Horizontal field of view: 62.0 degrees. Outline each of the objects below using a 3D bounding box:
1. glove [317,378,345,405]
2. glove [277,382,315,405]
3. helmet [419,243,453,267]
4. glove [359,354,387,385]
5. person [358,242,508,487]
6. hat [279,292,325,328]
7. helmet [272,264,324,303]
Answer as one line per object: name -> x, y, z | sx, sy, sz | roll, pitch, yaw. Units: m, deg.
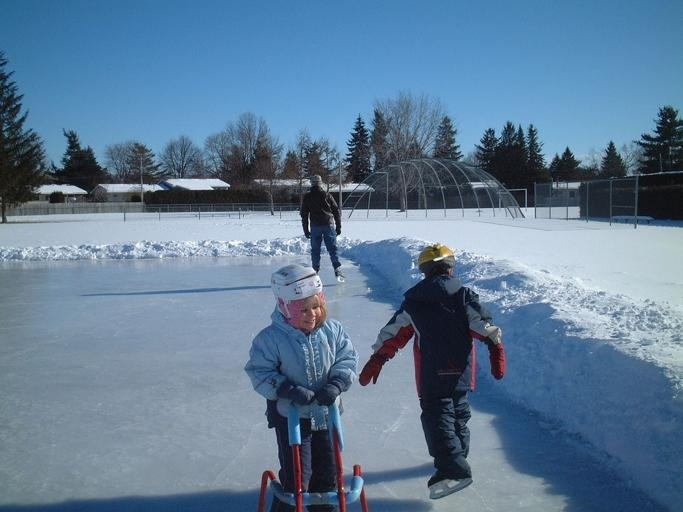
glove -> -0.068, 0.790, 3.241 | 0.149, 0.161, 0.166 | 1, 9, 7
glove -> -0.253, 0.755, 3.209 | 0.175, 0.116, 0.078 | 16, 5, 24
helmet -> 0.640, -0.012, 3.930 | 0.188, 0.155, 0.151 | -36, -11, 27
glove -> 0.186, 0.765, 3.784 | 0.072, 0.156, 0.250 | -14, 27, 50
person -> 0.620, 0.804, 3.742 | 0.863, 1.304, 0.422 | 2, 9, 15
hat -> -0.210, 0.308, 3.292 | 0.221, 0.239, 0.185 | -3, -6, 34
helmet -> -0.267, 0.156, 3.284 | 0.191, 0.274, 0.255 | -8, -10, -44
